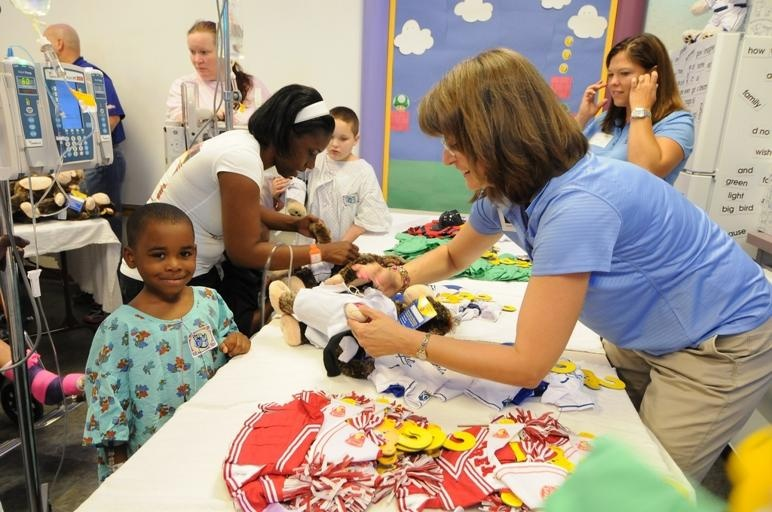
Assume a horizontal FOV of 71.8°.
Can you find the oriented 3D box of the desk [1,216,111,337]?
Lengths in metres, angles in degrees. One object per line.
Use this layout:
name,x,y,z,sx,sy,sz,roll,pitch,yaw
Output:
desk,-1.969,0.124,3.244,0.822,0.538,0.602,6,10,29
